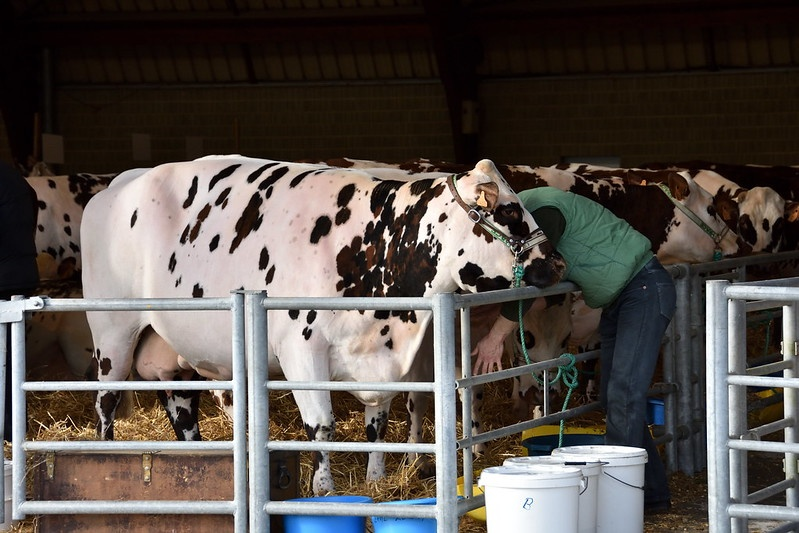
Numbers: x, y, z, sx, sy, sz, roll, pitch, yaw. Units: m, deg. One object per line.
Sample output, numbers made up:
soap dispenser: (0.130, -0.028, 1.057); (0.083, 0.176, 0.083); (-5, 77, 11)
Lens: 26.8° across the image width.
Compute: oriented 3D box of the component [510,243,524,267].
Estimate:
component: (1.112, -0.132, 15.745); (0.138, 0.210, 0.097); (1, -1, 9)

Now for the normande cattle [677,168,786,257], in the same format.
normande cattle: (4.393, -0.683, 20.787); (0.656, 0.950, 1.777); (-14, 15, -21)
